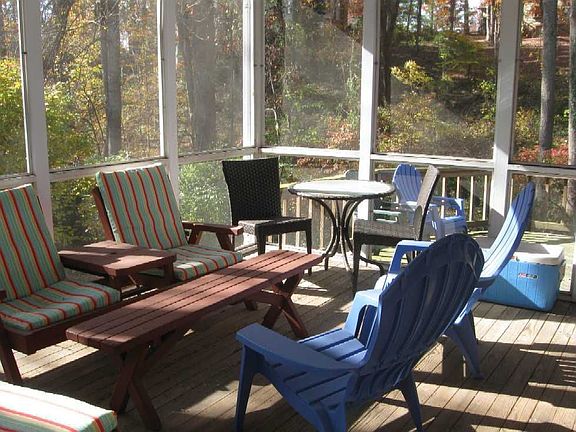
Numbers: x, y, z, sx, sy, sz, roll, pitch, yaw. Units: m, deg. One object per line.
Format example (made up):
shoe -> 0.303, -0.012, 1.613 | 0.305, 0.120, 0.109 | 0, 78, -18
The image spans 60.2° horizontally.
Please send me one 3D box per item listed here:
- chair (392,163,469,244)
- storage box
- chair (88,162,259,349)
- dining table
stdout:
chair -> 1.469, -0.200, 5.134 | 0.761, 0.894, 0.582 | 11, 21, 43
storage box -> 2.223, 0.605, 4.616 | 0.454, 0.451, 0.671 | 14, -5, -27
chair -> -0.907, 0.157, 4.583 | 1.292, 1.657, 1.115 | 6, 11, 33
dining table -> 0.502, 0.218, 4.872 | 0.885, 0.742, 0.913 | 13, 21, 39
